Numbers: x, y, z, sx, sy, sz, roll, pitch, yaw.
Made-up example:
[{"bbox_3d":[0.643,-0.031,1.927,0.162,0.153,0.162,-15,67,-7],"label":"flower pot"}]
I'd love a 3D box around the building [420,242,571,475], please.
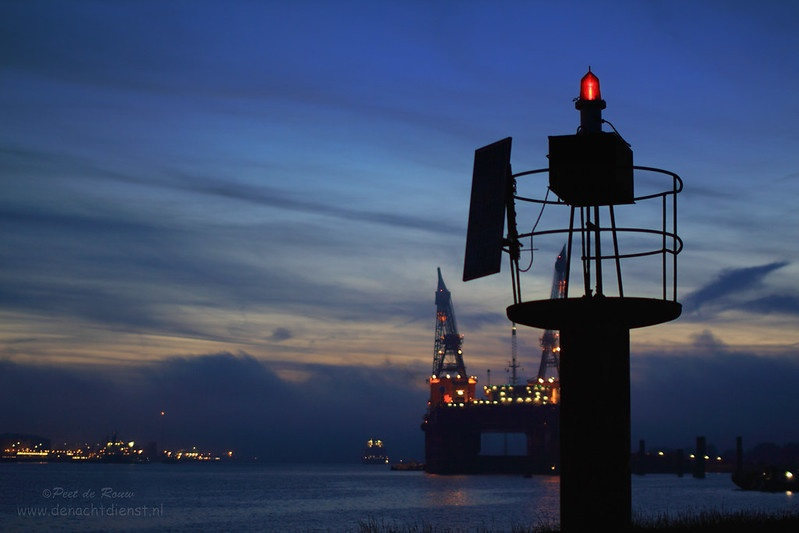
[{"bbox_3d":[19.339,27.698,290.564,36.438,49.902,53.730,0,-11,1],"label":"building"}]
